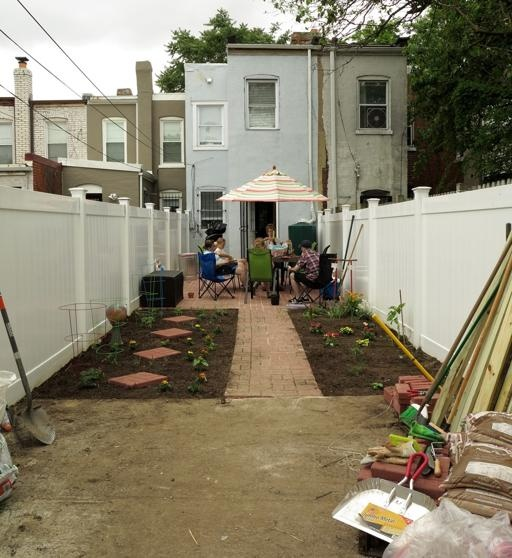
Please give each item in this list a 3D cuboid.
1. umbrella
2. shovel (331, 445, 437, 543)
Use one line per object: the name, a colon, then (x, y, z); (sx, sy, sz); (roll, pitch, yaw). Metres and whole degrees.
umbrella: (0.440, -2.229, 13.142); (1.917, 1.151, 1.973); (-1, 10, 15)
shovel: (0.601, 1.101, 2.569); (0.426, 0.097, 0.351); (7, 11, 44)
